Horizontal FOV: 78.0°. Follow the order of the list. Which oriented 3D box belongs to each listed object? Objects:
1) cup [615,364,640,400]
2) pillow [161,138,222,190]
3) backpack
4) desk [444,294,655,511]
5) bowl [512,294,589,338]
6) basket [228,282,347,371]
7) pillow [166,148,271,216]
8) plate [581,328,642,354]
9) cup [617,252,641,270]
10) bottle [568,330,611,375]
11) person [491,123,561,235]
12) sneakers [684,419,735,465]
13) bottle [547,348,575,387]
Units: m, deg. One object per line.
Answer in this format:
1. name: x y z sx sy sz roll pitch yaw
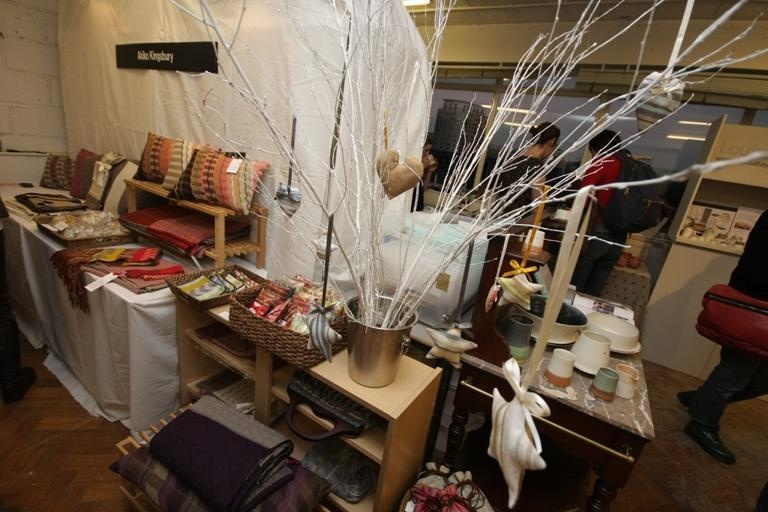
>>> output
1. cup: 1.419 0.745 2.842 0.126 0.182 0.201 7 9 31
2. pillow: -1.554 -0.677 3.867 0.403 0.396 0.124 10 -8 26
3. backpack: 2.291 -0.577 4.429 0.573 0.782 0.440 -6 12 -32
4. desk: 0.947 1.133 3.256 1.241 1.208 1.138 3 40 6
5. bowl: 1.080 0.396 3.004 0.311 0.114 0.306 12 19 -4
6. basket: -0.520 0.448 3.012 0.615 0.198 0.461 8 17 41
7. pillow: -1.221 -0.578 3.627 0.756 0.497 0.232 18 -5 18
8. plate: 1.462 0.564 2.995 0.234 0.040 0.235 19 -2 -7
9. cup: 2.435 0.059 4.755 0.205 0.106 0.169 4 6 22
10. bottle: 1.216 0.583 2.821 0.230 0.187 0.239 -5 24 2
11. person: 1.002 -0.626 3.412 0.387 0.671 1.771 12 18 17
12. sneakers: 2.559 1.472 3.838 0.152 0.191 0.445 -5 26 -34
13. bottle: 1.026 0.659 2.761 0.139 0.152 0.136 15 14 -16
